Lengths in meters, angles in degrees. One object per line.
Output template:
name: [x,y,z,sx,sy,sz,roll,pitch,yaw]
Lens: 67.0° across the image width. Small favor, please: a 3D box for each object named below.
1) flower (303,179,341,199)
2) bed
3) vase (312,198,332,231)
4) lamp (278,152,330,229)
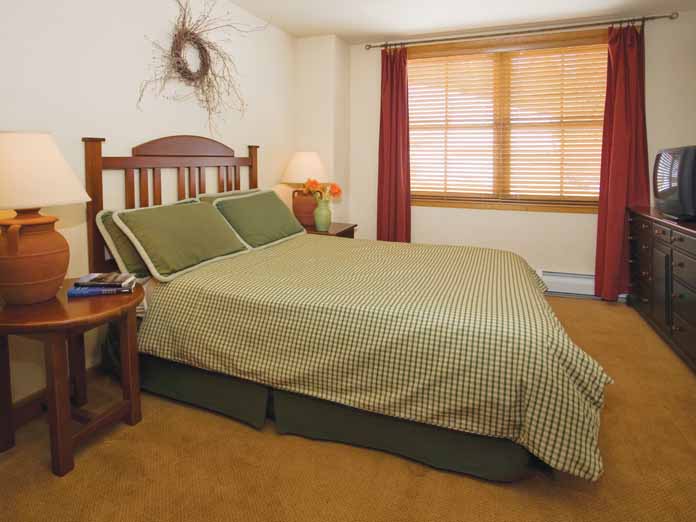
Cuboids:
flower: [-0.263,-0.674,5.072,0.265,0.169,0.266,7,11,-5]
bed: [0.023,0.231,3.455,2.829,1.621,1.860,3,13,18]
vase: [-0.248,-0.439,5.008,0.170,0.284,0.182,-5,19,-21]
lamp: [-0.409,-0.685,5.173,0.453,0.752,0.463,-1,2,-41]
